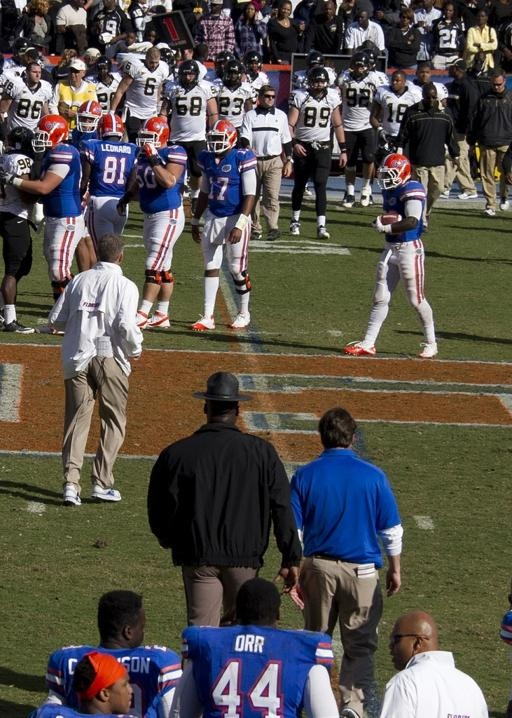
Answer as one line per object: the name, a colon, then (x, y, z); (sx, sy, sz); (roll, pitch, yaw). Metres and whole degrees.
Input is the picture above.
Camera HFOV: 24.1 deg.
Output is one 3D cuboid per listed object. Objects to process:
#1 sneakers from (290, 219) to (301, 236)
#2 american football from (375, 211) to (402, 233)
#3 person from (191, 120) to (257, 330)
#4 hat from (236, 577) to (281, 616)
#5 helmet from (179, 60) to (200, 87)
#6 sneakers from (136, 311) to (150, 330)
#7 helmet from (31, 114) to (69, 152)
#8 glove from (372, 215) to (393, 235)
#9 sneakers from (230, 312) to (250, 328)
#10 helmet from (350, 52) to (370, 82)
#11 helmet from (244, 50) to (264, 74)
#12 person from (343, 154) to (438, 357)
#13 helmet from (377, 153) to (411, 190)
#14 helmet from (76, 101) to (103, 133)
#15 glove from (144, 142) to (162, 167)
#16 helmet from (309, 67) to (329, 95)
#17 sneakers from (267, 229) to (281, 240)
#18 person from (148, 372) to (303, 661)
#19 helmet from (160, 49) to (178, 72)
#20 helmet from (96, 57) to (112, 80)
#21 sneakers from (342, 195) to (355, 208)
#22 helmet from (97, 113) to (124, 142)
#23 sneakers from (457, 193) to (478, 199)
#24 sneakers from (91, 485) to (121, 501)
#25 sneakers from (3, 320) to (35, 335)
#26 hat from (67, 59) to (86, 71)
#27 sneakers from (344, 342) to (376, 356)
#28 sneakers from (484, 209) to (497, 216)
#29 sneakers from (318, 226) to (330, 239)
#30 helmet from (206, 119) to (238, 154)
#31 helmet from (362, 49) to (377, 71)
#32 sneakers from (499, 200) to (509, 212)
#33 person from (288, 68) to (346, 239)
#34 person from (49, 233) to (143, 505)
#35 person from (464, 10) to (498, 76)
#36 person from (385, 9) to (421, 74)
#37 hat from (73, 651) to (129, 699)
sneakers: (0.551, -1.843, 16.968); (0.105, 0.112, 0.255); (-1, 46, -1)
american football: (1.158, -1.191, 10.544); (0.211, 0.118, 0.187); (-3, 35, 13)
person: (-0.327, -1.271, 11.856); (0.635, 2.039, 1.324); (2, 7, -2)
hat: (0.012, 0.765, 3.841); (0.111, 0.130, 0.128); (6, 43, -3)
helmet: (-0.897, -3.747, 16.019); (0.288, 0.324, 0.336); (0, 52, 0)
sneakers: (-1.067, -0.360, 11.435); (0.148, 0.155, 0.410); (1, -3, 3)
helmet: (-1.827, -1.994, 10.658); (0.306, 0.331, 0.303); (1, 7, -10)
glove: (1.132, -1.161, 10.536); (0.182, 0.099, 0.168); (-7, 21, 0)
sneakers: (-0.157, -0.385, 12.310); (0.206, 0.216, 0.534); (2, 0, 3)
helmet: (1.541, -4.295, 17.713); (0.275, 0.368, 0.404); (3, 6, 3)
helmet: (0.020, -4.238, 17.222); (0.269, 0.276, 0.326); (-1, 10, -13)
person: (1.286, -0.890, 10.859); (0.775, 1.846, 0.815); (3, 7, 4)
helmet: (1.226, -1.643, 10.596); (0.266, 0.312, 0.277); (3, 7, 5)
helmet: (-1.766, -2.521, 12.754); (0.289, 0.235, 0.446); (1, 33, 5)
glove: (-0.934, -1.832, 10.850); (0.086, 0.177, 0.135); (-22, 21, 6)
helmet: (0.851, -3.724, 16.270); (0.273, 0.382, 0.437); (3, 6, 1)
sneakers: (0.244, -1.681, 16.386); (0.166, 0.152, 0.106); (-20, -6, 31)
person: (-0.128, 0.782, 5.127); (0.727, 1.320, 0.538); (3, 2, -1)
helmet: (-1.344, -4.598, 18.645); (0.354, 0.415, 0.425); (3, 19, 1)
helmet: (-2.236, -4.235, 17.657); (0.253, 0.315, 0.334); (-2, 4, 0)
sneakers: (1.494, -2.511, 19.402); (0.209, 0.188, 0.134); (-8, -1, 21)
helmet: (-1.442, -2.268, 11.859); (0.227, 0.235, 0.284); (-1, 17, -9)
sneakers: (3.627, -2.762, 20.522); (0.306, 0.098, 0.129); (-2, -33, -9)
sneakers: (-0.922, 0.834, 7.458); (0.081, 0.085, 0.204); (5, 0, 35)
sneakers: (-2.252, -0.288, 11.353); (0.263, 0.100, 0.134); (3, 15, -3)
hat: (-2.539, -4.206, 17.250); (0.195, 0.084, 0.266); (7, 6, 8)
sneakers: (0.983, -0.087, 11.394); (0.330, 0.123, 0.114); (6, -4, 0)
sneakers: (3.779, -2.322, 19.292); (0.112, 0.108, 0.146); (-1, 0, -30)
sneakers: (0.950, -1.732, 16.696); (0.095, 0.104, 0.247); (-3, -2, -3)
helmet: (-0.226, -2.052, 11.231); (0.254, 0.281, 0.343); (1, 4, 36)
helmet: (1.749, -4.422, 17.958); (0.277, 0.277, 0.313); (-8, 41, -8)
sneakers: (4.096, -2.499, 19.734); (0.107, 0.108, 0.293); (0, -3, 3)
person: (0.819, -2.801, 16.646); (0.771, 2.313, 1.230); (3, 7, 4)
person: (-0.977, 0.092, 7.248); (0.557, 1.650, 0.413); (2, 7, -2)
person: (3.955, -5.262, 21.178); (0.497, 1.545, 0.430); (4, 27, 10)
person: (2.550, -5.460, 20.714); (0.488, 1.033, 0.600); (7, 8, 32)
hat: (-0.455, 0.932, 3.542); (0.153, 0.126, 0.095); (1, 7, -17)
